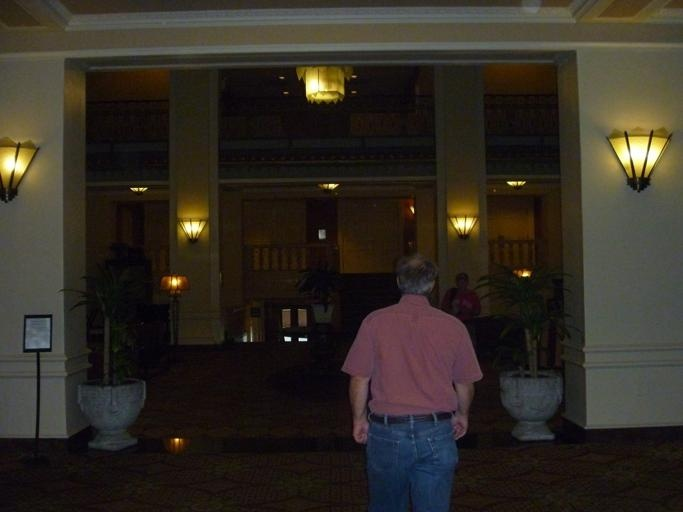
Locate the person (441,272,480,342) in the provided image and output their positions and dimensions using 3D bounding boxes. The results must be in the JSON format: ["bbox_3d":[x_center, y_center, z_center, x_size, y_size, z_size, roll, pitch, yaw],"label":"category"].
[{"bbox_3d":[1.760,0.951,10.243,0.506,1.481,0.455,4,30,16],"label":"person"}]

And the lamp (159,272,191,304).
[{"bbox_3d":[-3.252,0.565,13.705,0.558,0.611,0.628,1,4,11],"label":"lamp"}]

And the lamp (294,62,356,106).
[{"bbox_3d":[-0.186,-2.401,9.581,0.752,0.553,0.947,-1,3,-10],"label":"lamp"}]

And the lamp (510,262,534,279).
[{"bbox_3d":[3.735,0.280,14.496,0.281,0.244,0.305,0,-2,2],"label":"lamp"}]

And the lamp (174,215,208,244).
[{"bbox_3d":[-3.132,-0.590,14.564,0.484,0.491,0.513,-1,-10,-2],"label":"lamp"}]

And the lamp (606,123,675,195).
[{"bbox_3d":[3.275,-1.093,7.616,0.608,0.674,0.663,-1,-6,18],"label":"lamp"}]

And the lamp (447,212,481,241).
[{"bbox_3d":[2.516,-0.637,14.387,0.472,0.411,0.516,0,-12,2],"label":"lamp"}]

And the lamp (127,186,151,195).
[{"bbox_3d":[-4.688,-1.544,16.141,0.431,0.163,0.598,-2,3,-18],"label":"lamp"}]

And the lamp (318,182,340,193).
[{"bbox_3d":[-0.326,-1.635,16.300,0.362,0.156,0.356,-2,3,-41],"label":"lamp"}]
